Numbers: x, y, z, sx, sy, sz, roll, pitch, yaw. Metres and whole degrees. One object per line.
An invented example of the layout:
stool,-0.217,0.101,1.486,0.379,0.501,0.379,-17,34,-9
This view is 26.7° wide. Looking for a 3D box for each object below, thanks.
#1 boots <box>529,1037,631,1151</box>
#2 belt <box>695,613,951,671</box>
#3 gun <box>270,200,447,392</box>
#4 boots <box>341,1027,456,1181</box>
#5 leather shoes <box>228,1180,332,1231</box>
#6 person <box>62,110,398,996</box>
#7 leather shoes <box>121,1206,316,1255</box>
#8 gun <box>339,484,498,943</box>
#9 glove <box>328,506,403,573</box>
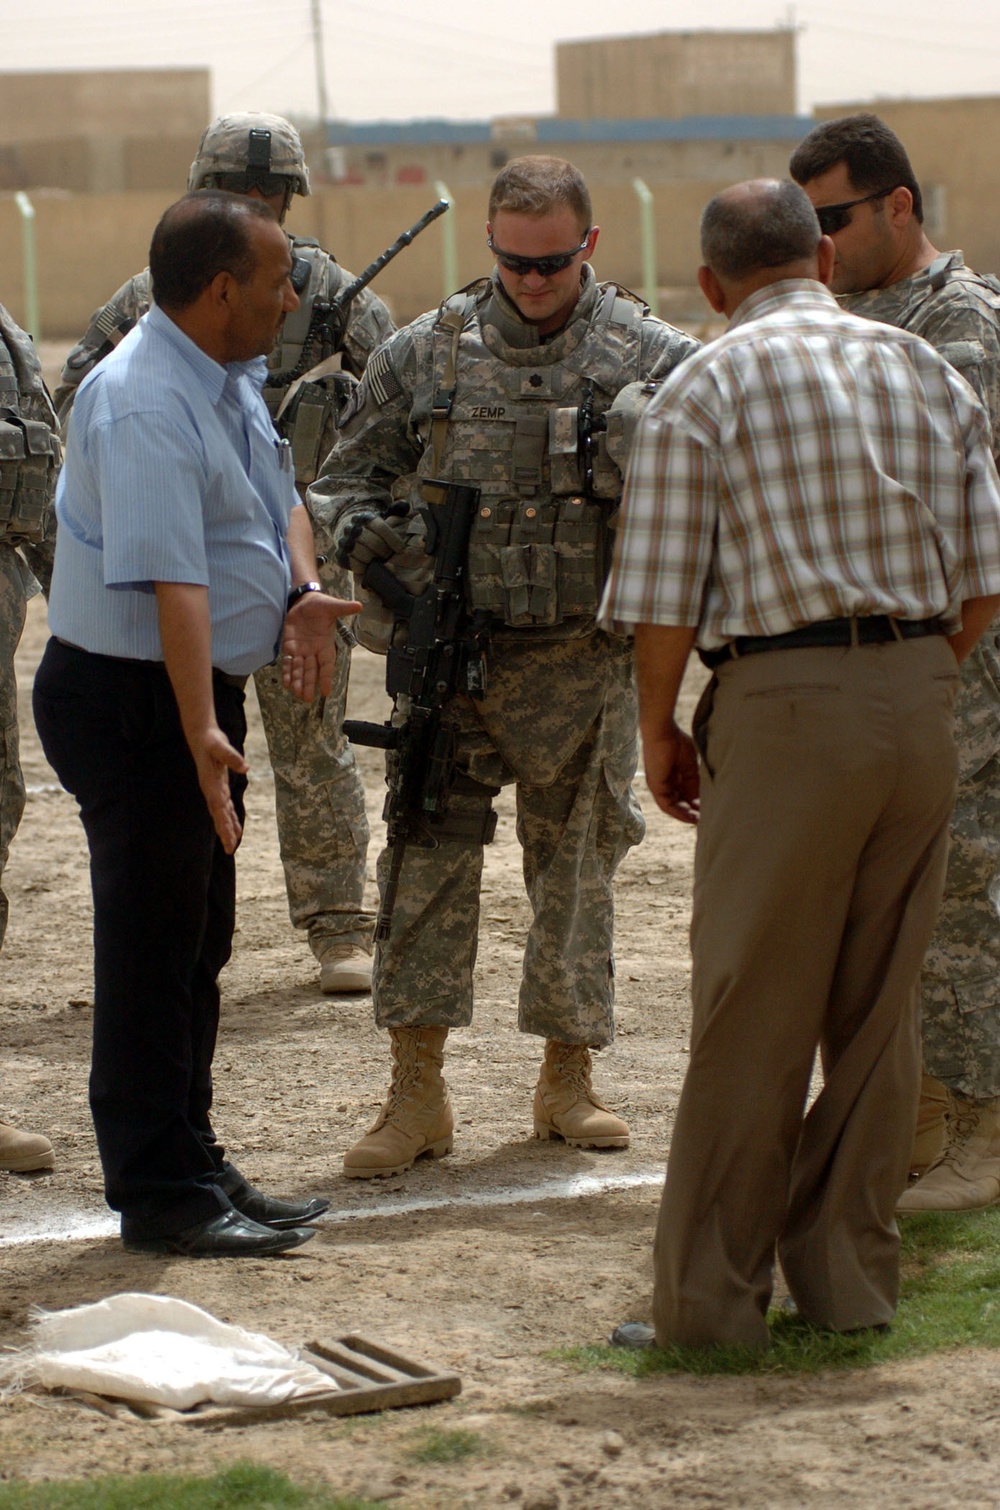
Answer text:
boots,0.174,0.725,4.555,0.123,0.245,0.302,1,-1,-27
belt,0.493,-0.169,3.235,0.384,0.093,0.243,2,3,7
gun,-0.442,-1.214,5.855,0.455,0.654,0.321,20,24,38
boots,-0.205,0.720,4.411,0.319,0.255,0.316,0,13,-6
leather shoes,-0.428,0.839,3.905,0.230,0.072,0.072,6,5,-20
person,-0.564,-0.521,5.904,1.289,2.184,0.889,1,3,9
leather shoes,-0.498,0.839,3.761,0.355,0.101,0.104,0,-6,-5
gun,-0.307,-0.116,4.307,0.432,0.821,0.396,-5,25,-18
glove,-0.272,-0.435,4.301,0.137,0.121,0.096,1,4,-5
